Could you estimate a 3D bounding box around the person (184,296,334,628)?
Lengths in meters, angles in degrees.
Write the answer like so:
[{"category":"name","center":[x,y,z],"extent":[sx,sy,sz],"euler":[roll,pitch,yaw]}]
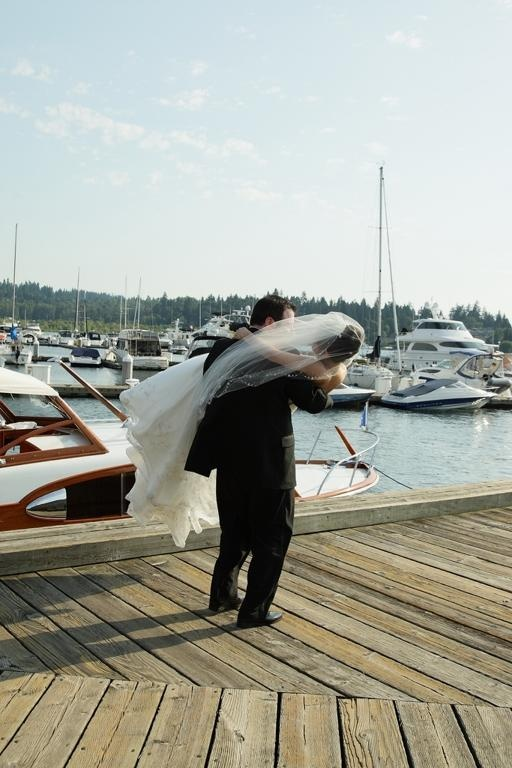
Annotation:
[{"category":"person","center":[0.022,0.520,2.630],"extent":[0.618,0.884,0.480],"euler":[2,-1,17]}]
